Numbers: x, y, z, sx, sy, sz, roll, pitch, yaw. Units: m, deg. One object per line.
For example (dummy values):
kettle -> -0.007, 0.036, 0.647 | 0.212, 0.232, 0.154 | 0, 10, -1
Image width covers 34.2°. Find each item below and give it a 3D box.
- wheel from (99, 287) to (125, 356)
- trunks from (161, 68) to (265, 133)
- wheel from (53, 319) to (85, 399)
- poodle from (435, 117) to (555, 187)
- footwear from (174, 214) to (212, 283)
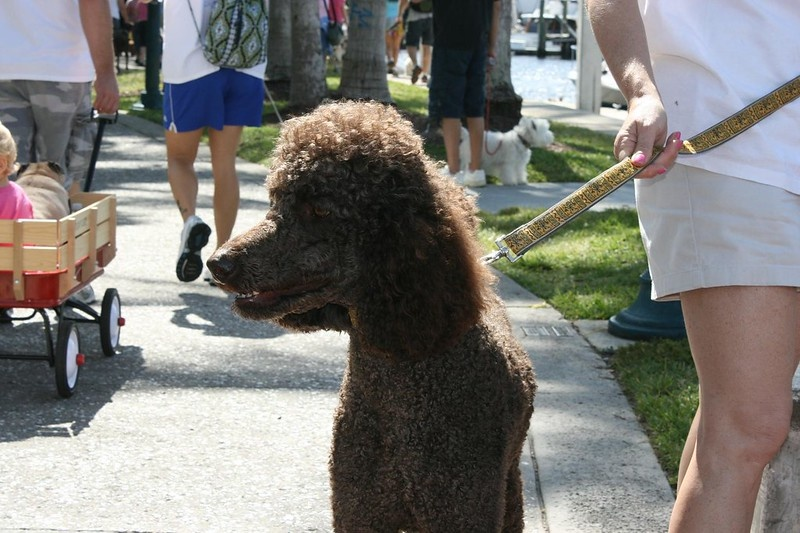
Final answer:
wheel -> -1.816, 0.347, 8.109 | 0.163, 0.438, 0.463 | 1, 13, -5
trunks -> -1.357, -1.205, 9.012 | 0.358, 0.443, 0.570 | -2, 12, 4
wheel -> -1.927, 0.555, 7.519 | 0.137, 0.394, 0.398 | -2, -15, 11
poodle -> 1.135, -1.239, 13.715 | 1.192, 0.751, 0.402 | 6, 1, 34
footwear -> -1.408, -0.122, 8.744 | 0.209, 0.486, 0.230 | 1, 18, -28
